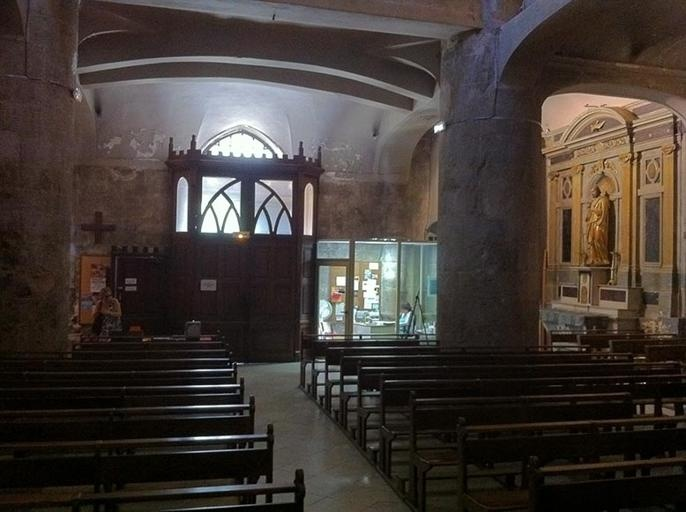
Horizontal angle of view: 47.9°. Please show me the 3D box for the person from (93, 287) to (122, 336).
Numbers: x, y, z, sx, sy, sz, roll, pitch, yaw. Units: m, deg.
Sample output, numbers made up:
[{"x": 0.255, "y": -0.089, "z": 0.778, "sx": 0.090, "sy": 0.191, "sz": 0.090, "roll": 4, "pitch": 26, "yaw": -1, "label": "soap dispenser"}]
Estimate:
[{"x": -4.091, "y": 0.963, "z": 13.326, "sx": 0.574, "sy": 0.872, "sz": 0.591, "roll": -6, "pitch": 0, "yaw": -14, "label": "person"}]
